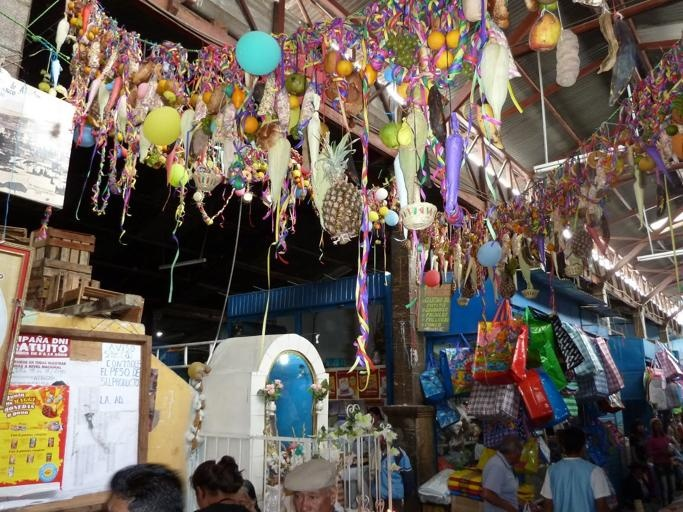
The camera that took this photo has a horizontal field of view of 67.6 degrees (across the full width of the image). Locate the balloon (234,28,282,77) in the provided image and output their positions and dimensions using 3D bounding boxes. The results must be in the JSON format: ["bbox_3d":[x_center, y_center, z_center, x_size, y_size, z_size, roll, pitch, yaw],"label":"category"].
[{"bbox_3d":[-0.428,-1.034,2.680,0.225,0.228,0.195,-1,-19,-1],"label":"balloon"}]

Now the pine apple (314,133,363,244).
[{"bbox_3d":[-0.016,-0.385,2.991,0.200,0.602,0.224,-7,4,29],"label":"pine apple"}]

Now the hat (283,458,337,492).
[{"bbox_3d":[-0.199,1.364,3.196,0.310,0.177,0.243,0,-20,-6],"label":"hat"}]

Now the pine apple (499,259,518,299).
[{"bbox_3d":[1.609,0.242,5.002,0.190,0.410,0.178,20,-27,-34],"label":"pine apple"}]

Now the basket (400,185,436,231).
[{"bbox_3d":[0.374,-0.212,2.515,0.162,0.158,0.282,-4,-20,7],"label":"basket"}]

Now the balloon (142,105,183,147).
[{"bbox_3d":[-1.079,-0.789,3.060,0.207,0.303,0.227,-13,14,-27],"label":"balloon"}]

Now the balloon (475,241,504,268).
[{"bbox_3d":[1.262,-0.014,4.343,0.141,0.192,0.144,28,14,11],"label":"balloon"}]
